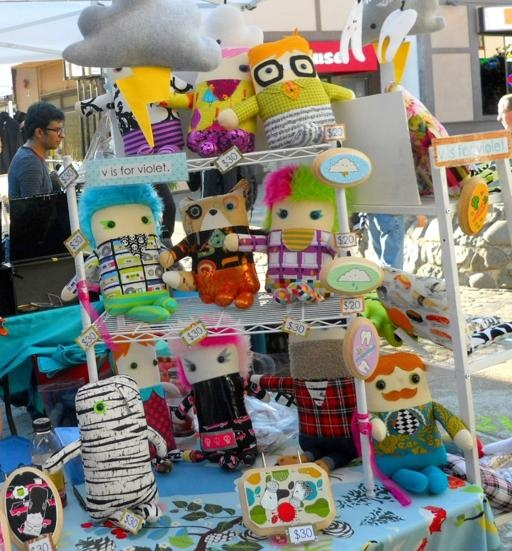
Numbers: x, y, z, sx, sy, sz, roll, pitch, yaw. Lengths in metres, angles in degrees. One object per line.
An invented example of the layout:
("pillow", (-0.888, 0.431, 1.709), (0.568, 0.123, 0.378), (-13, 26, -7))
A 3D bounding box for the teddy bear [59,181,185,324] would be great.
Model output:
("teddy bear", (-0.394, -0.069, 1.468), (0.257, 0.338, 0.314), (-7, 4, -19))

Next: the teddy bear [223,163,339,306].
("teddy bear", (0.081, -0.126, 1.441), (0.296, 0.410, 0.196), (-4, 4, 28))

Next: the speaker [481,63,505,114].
("speaker", (3.382, -2.651, 6.878), (0.424, 0.705, 0.174), (-7, 3, -16))
